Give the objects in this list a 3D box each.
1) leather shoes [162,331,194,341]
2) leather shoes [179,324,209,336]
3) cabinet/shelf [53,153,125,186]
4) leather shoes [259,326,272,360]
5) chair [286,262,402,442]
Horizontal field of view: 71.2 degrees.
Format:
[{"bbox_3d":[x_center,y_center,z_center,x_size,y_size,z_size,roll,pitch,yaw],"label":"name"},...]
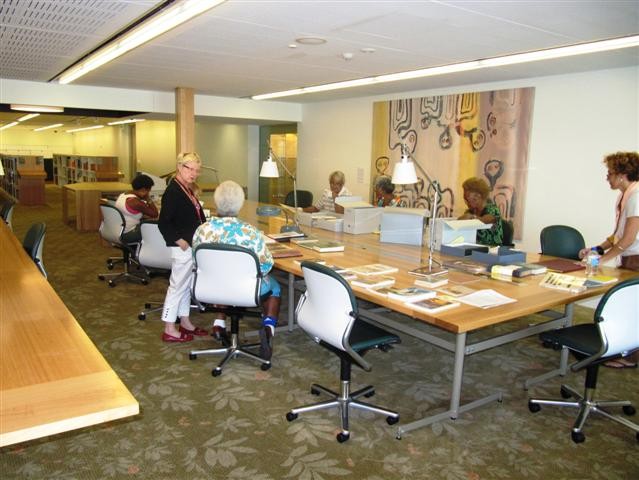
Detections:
[{"bbox_3d":[-1.358,0.902,4.246,0.232,0.067,0.103,-2,5,-17],"label":"leather shoes"},{"bbox_3d":[-1.232,0.882,4.407,0.299,0.076,0.104,-1,5,-11],"label":"leather shoes"},{"bbox_3d":[-8.334,-2.350,15.847,1.707,1.244,8.195,-4,12,-30],"label":"cabinet/shelf"},{"bbox_3d":[-0.431,0.836,3.655,0.115,0.262,0.122,-1,2,24],"label":"leather shoes"},{"bbox_3d":[0.167,0.712,3.071,0.764,1.164,0.571,1,13,-6],"label":"chair"}]
